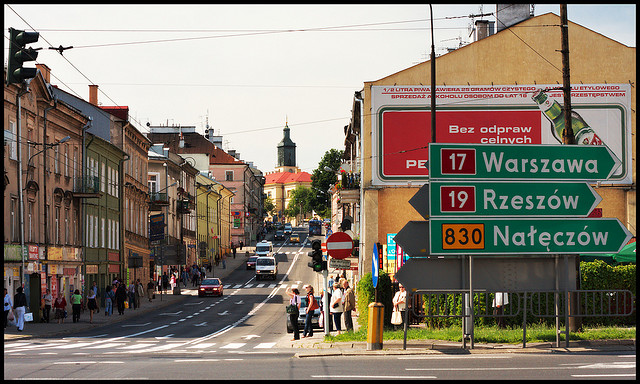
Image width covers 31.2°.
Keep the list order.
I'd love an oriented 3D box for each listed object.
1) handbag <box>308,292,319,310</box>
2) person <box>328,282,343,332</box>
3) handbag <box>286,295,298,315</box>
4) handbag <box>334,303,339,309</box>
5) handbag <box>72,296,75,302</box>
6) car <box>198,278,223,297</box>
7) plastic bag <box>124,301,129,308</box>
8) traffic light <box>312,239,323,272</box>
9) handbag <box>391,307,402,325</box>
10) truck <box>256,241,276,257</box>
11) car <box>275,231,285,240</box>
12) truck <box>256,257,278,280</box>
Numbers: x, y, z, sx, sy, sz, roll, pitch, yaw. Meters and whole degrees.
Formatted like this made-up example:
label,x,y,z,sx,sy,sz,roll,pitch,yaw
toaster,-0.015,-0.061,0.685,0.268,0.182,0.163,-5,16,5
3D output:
label,x,y,z,sx,sy,sz,roll,pitch,yaw
handbag,-0.395,5.555,56.733,0.554,0.951,0.652,-4,-2,5
person,0.787,5.789,56.840,0.712,2.463,0.894,-2,-12,0
handbag,-1.372,5.745,57.312,0.483,1.029,1.098,-1,-12,-3
handbag,0.782,5.696,56.720,0.245,0.230,0.063,-1,-13,-4
handbag,-14.258,6.276,66.408,0.135,0.425,0.125,12,-44,-16
car,-8.333,7.449,87.494,1.351,0.853,2.226,1,2,-7
plastic bag,-13.189,7.771,78.164,0.180,0.477,0.363,-3,1,-43
traffic light,-0.121,3.064,55.050,0.476,1.615,0.962,-2,-12,-1
handbag,3.681,6.089,55.679,0.468,0.836,0.444,-6,-13,18
truck,-5.750,5.987,117.962,1.322,1.223,2.097,-1,-8,0
car,-5.757,6.485,164.693,1.088,0.888,1.847,-1,-12,-2
truck,-4.776,6.787,103.751,1.989,1.871,3.738,-1,8,0
